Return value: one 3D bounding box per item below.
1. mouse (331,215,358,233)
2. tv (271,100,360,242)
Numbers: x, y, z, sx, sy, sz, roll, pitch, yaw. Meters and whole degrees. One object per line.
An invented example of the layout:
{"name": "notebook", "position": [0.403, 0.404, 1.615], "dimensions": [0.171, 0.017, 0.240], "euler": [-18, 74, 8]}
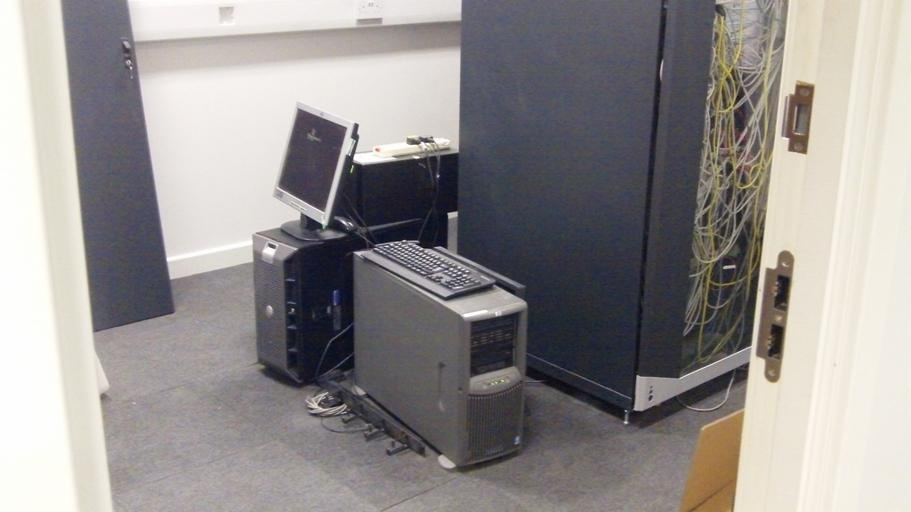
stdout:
{"name": "mouse", "position": [-0.515, -0.158, 3.305], "dimensions": [0.051, 0.057, 0.231], "euler": [-11, 20, -37]}
{"name": "tv", "position": [-0.613, -0.387, 3.274], "dimensions": [0.230, 0.554, 0.622], "euler": [1, 17, -34]}
